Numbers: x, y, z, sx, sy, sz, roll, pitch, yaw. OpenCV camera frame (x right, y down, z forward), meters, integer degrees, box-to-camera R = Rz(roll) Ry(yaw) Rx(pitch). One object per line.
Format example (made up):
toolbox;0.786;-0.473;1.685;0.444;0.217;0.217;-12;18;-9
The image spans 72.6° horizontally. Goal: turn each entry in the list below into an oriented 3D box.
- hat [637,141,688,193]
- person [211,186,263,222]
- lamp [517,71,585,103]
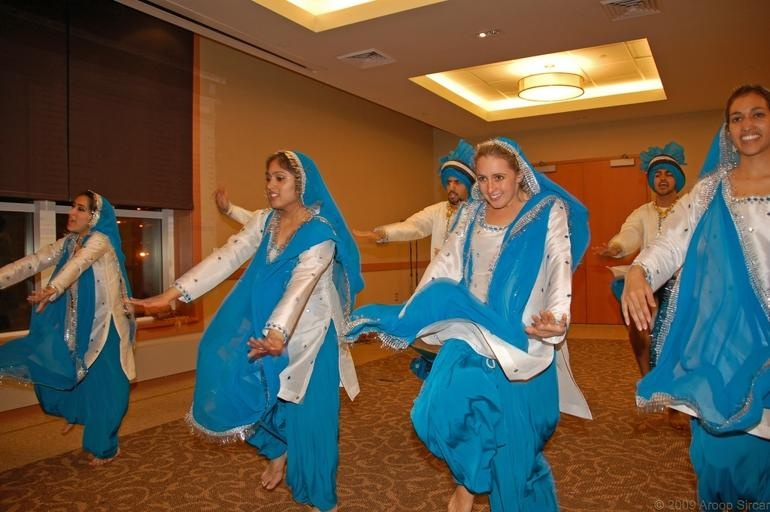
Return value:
hat;2.957;-1.027;5.677;0.622;0.653;0.360;5;22;29
person;-1.753;-0.607;6.118;0.257;0.189;0.767;17;4;8
lamp;2.574;-2.681;8.234;0.955;0.346;0.558;1;6;15
